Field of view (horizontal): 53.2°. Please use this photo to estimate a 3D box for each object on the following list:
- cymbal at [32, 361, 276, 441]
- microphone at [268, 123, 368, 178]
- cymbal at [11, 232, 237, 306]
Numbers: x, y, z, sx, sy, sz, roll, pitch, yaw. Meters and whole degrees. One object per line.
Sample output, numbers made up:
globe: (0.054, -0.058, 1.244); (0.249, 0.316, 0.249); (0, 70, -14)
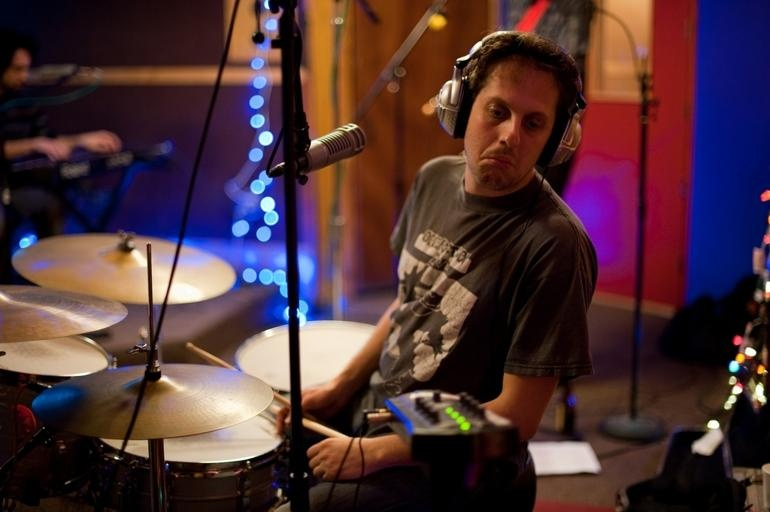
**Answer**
cymbal: (-0.769, 0.483, 2.568); (0.767, 0.194, 0.313); (4, 4, -11)
microphone: (-0.188, -0.349, 2.449); (0.129, 0.130, 0.387); (10, 20, 32)
cymbal: (-0.980, 0.040, 2.932); (0.793, 0.251, 0.375); (5, 4, -7)
